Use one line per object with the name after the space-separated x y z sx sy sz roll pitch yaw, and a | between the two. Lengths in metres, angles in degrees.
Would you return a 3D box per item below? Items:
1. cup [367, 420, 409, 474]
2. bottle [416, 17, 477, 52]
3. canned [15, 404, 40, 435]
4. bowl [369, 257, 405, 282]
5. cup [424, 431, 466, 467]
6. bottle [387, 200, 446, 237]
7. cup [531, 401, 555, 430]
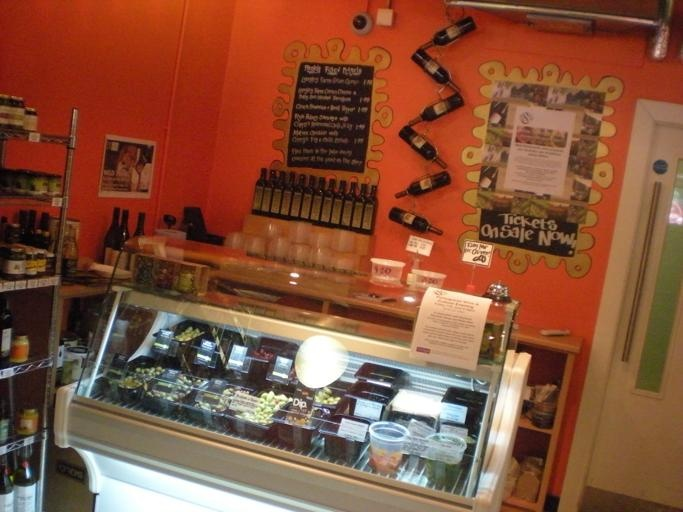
0.192 0.758 2.134 0.146 0.144 0.156 4 1 0 | cup
0.790 -1.629 4.049 0.462 0.161 0.144 -28 -54 18 | bottle
-1.685 0.864 2.840 0.123 0.146 0.127 3 -3 0 | canned
0.306 0.078 3.290 0.155 0.090 0.155 4 5 0 | bowl
0.415 0.755 2.097 0.123 0.137 0.098 3 3 2 | cup
0.568 -0.289 4.133 0.484 0.180 0.145 26 -24 20 | bottle
1.410 1.087 3.679 0.154 0.174 0.158 4 0 0 | cup
